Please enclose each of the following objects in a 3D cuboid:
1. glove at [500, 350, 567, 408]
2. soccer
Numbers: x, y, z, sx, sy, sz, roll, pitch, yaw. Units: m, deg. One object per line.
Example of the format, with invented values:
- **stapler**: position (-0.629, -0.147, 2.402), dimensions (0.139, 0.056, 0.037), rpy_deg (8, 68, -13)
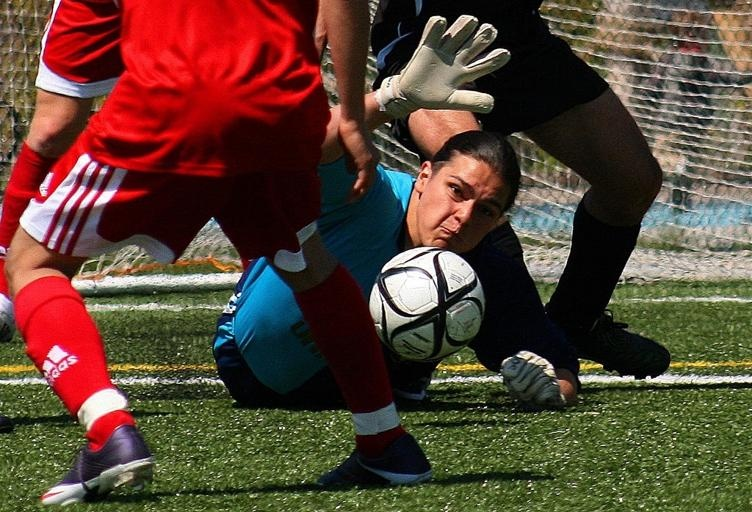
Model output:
- **glove**: position (0.563, 0.430, 2.685), dimensions (0.286, 0.120, 0.096), rpy_deg (10, 18, 16)
- **soccer**: position (0.149, 0.158, 2.598), dimensions (0.481, 0.376, 0.345), rpy_deg (9, 54, -10)
